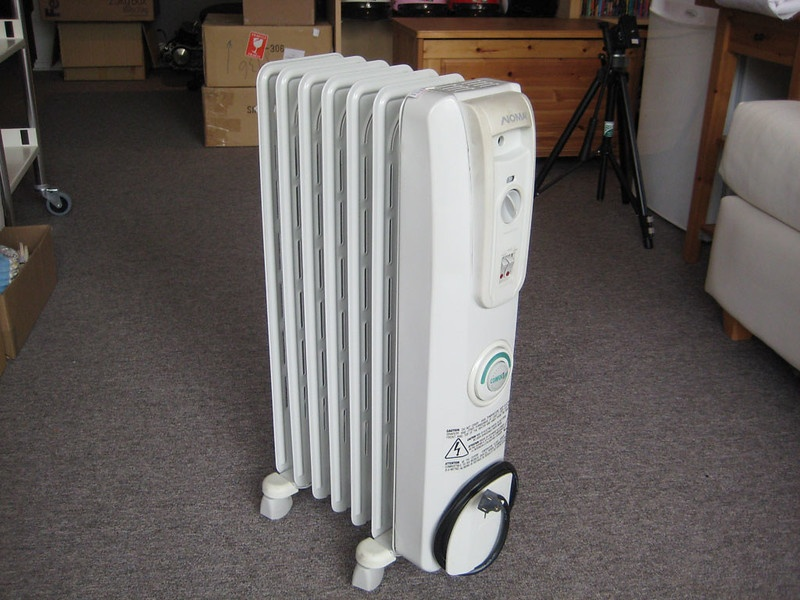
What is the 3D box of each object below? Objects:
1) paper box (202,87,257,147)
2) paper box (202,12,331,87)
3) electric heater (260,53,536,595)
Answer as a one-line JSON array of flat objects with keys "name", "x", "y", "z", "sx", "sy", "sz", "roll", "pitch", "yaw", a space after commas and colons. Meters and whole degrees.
[{"name": "paper box", "x": -0.985, "y": -1.101, "z": 3.760, "sx": 0.329, "sy": 0.341, "sz": 0.257, "roll": -7, "pitch": 32, "yaw": -30}, {"name": "paper box", "x": -0.788, "y": -1.306, "z": 3.795, "sx": 0.684, "sy": 0.359, "sz": 0.511, "roll": -2, "pitch": -6, "yaw": -11}, {"name": "electric heater", "x": -0.025, "y": 0.081, "z": 1.249, "sx": 0.551, "sy": 0.962, "sz": 0.337, "roll": 21, "pitch": 33, "yaw": 30}]
